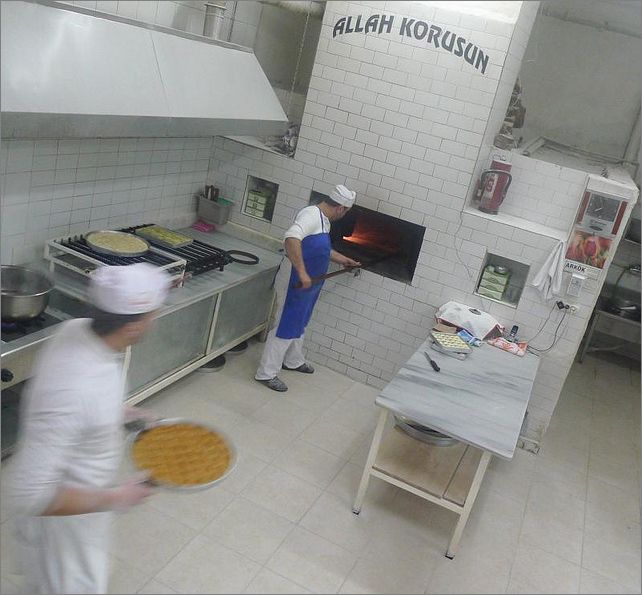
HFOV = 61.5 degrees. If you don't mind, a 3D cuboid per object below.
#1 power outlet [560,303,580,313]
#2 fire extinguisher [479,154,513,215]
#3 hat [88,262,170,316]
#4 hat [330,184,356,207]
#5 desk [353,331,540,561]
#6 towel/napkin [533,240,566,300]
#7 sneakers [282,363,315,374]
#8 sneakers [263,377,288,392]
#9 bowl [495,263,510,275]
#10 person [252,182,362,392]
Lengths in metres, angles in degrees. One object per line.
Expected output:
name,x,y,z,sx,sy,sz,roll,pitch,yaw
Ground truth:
power outlet,2.018,0.086,4.372,0.201,0.046,0.082,14,16,33
fire extinguisher,1.485,-0.969,4.589,0.266,0.497,0.260,25,25,21
hat,-0.635,-0.037,1.838,0.196,0.082,0.223,14,23,-2
hat,0.172,-0.828,4.398,0.180,0.165,0.193,17,21,8
desk,0.931,0.922,3.868,0.895,0.696,1.615,21,21,21
towel/napkin,1.881,-0.211,4.336,0.224,0.506,0.139,22,24,13
sneakers,-0.207,0.675,5.159,0.343,0.099,0.097,-1,20,-4
sneakers,-0.391,0.765,4.723,0.234,0.069,0.095,16,36,16
bowl,1.565,-0.234,4.634,0.122,0.051,0.192,16,20,15
person,-0.116,-0.062,4.596,0.510,1.838,0.786,21,24,9
